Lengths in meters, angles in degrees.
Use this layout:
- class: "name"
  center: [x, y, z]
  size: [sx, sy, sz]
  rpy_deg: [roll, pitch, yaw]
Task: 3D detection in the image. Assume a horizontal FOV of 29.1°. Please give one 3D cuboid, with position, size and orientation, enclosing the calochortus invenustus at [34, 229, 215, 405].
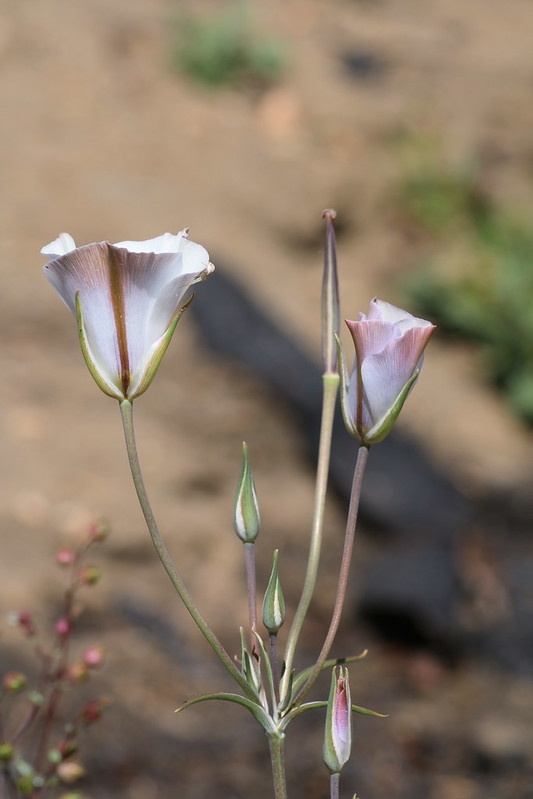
- class: "calochortus invenustus"
  center: [-0.074, -0.042, 0.546]
  size: [0.086, 0.083, 0.080]
  rpy_deg: [1, -13, -20]
